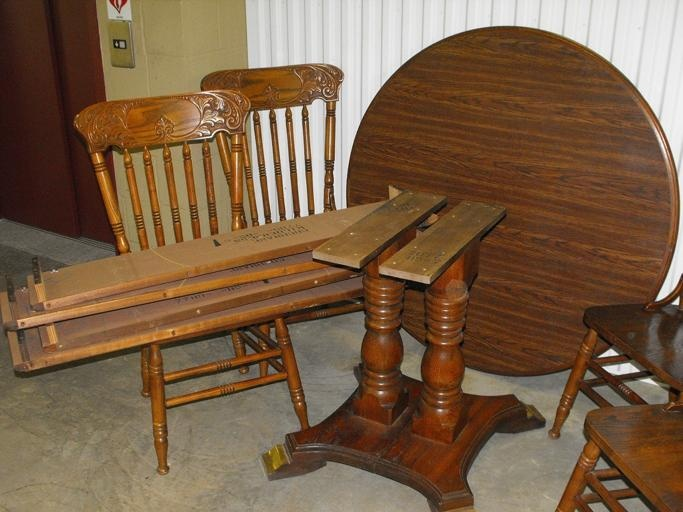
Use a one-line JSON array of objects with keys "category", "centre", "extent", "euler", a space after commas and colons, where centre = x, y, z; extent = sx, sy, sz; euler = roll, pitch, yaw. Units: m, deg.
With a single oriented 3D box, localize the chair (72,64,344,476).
[{"category": "chair", "centre": [-0.475, -0.021, 2.609], "extent": [1.052, 1.476, 1.363], "euler": [1, 27, 0]}]
